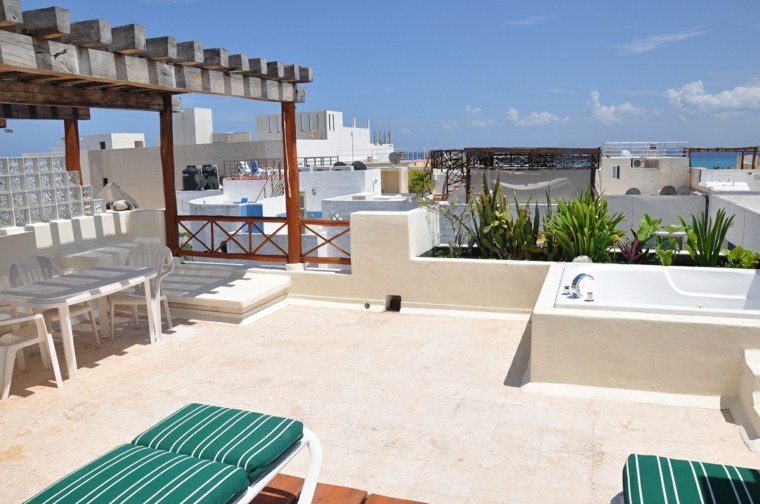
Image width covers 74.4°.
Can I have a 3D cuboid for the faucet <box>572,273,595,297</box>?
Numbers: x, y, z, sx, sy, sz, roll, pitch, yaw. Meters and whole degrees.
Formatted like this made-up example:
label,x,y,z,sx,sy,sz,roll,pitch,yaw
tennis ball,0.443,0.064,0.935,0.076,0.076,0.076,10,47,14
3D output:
label,x,y,z,sx,sy,sz,roll,pitch,yaw
faucet,2.218,0.350,5.427,0.287,0.238,0.072,5,-1,-25
